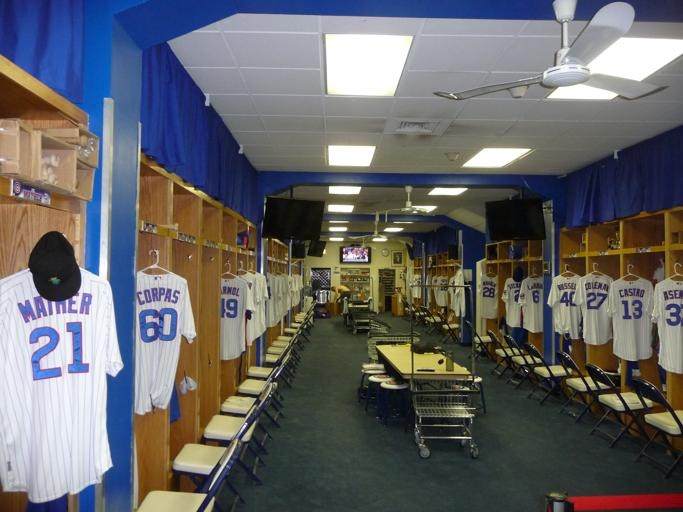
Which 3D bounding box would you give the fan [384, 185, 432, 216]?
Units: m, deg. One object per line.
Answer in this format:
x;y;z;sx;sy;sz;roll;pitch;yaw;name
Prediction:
1.281;-0.984;9.914;0.578;0.401;0.601;0;-6;4;fan

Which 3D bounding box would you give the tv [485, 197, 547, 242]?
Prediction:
2.743;-0.576;8.626;0.814;0.604;0.112;-2;4;24;tv

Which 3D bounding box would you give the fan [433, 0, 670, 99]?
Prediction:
1.622;-1.379;3.956;1.030;0.392;1.005;8;-13;-29;fan

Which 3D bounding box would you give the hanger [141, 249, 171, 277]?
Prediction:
-1.659;0.062;4.956;0.254;0.174;0.017;1;-4;-8;hanger

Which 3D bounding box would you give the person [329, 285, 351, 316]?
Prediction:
-0.165;1.746;22.321;1.095;1.406;0.811;1;-3;1;person

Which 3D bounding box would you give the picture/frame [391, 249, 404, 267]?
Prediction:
2.435;0.105;24.453;0.747;0.973;0.070;1;-12;0;picture/frame

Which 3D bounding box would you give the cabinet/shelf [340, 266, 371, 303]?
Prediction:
0.551;1.143;23.072;1.422;1.593;0.475;0;-3;-3;cabinet/shelf

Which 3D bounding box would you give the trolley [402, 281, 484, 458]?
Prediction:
1.689;1.713;8.894;1.331;3.366;1.660;1;-4;-1;trolley

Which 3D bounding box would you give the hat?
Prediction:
-1.743;0.056;3.344;0.282;0.415;0.210;-9;-28;-35;hat

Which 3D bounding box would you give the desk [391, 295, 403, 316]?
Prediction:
2.256;2.000;22.515;0.238;0.668;0.744;1;-6;-3;desk
